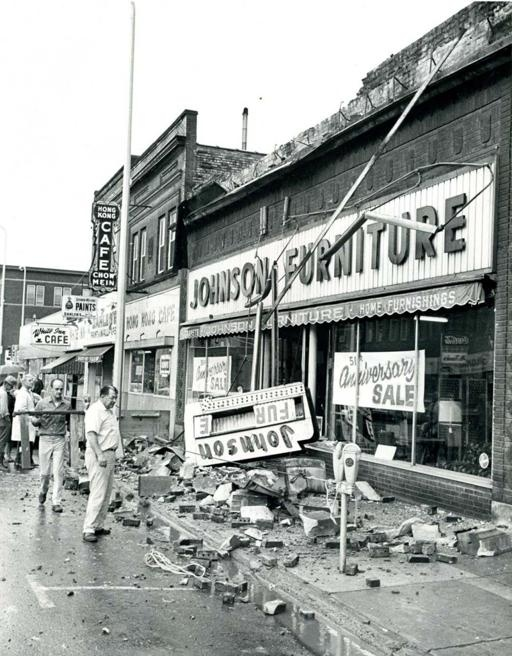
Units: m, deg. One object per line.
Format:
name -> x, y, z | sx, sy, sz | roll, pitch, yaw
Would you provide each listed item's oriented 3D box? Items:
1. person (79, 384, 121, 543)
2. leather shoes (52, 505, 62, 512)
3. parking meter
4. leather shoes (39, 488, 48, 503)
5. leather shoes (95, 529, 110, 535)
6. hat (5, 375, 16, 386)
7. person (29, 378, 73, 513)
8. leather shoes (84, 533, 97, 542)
person -> -1.883, 1.605, 9.446 | 0.435, 1.833, 0.930 | 2, -6, -12
leather shoes -> -2.792, 2.533, 10.916 | 0.144, 0.107, 0.180 | 4, -7, -16
parking meter -> 0.874, 1.704, 7.719 | 0.267, 1.507, 0.175 | 6, 32, 13
leather shoes -> -3.208, 2.530, 11.702 | 0.064, 0.249, 0.151 | 8, -24, -24
leather shoes -> -1.848, 2.484, 9.446 | 0.112, 0.072, 0.251 | -1, -8, 25
hat -> -5.257, 1.058, 16.645 | 0.202, 0.313, 0.288 | 0, -14, -28
person -> -3.004, 1.696, 11.382 | 0.682, 1.803, 0.550 | -3, -6, 43
leather shoes -> -1.920, 2.420, 8.971 | 0.153, 0.095, 0.208 | 4, -7, -15
